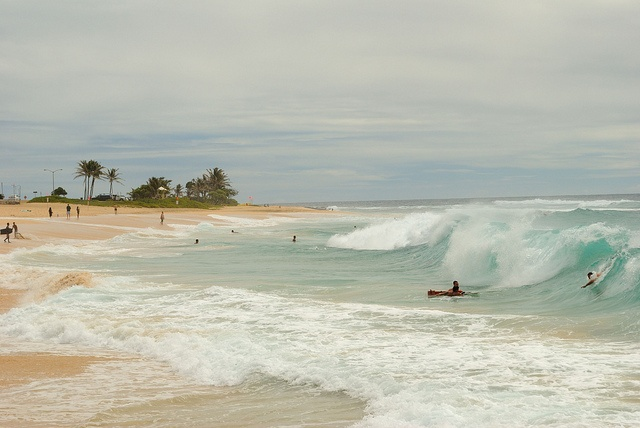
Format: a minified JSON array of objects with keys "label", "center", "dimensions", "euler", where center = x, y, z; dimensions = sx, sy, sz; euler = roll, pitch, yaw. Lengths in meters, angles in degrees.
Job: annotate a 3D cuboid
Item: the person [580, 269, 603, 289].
[{"label":"person","center":[9.031,2.132,22.911],"dimensions":[0.614,0.552,1.098],"euler":[2,8,16]}]
